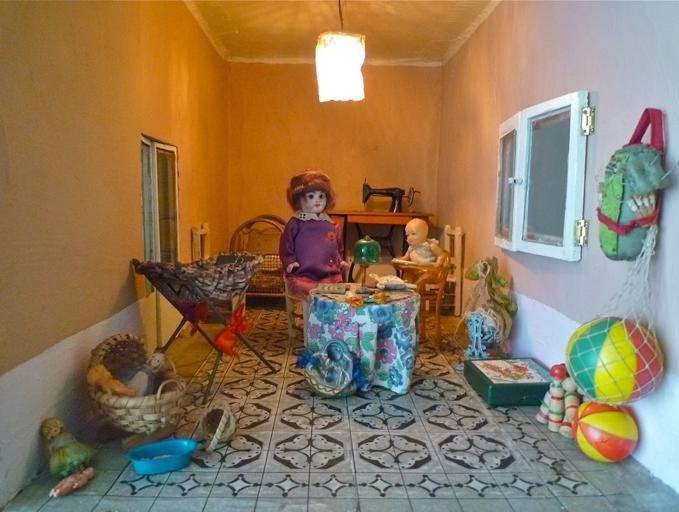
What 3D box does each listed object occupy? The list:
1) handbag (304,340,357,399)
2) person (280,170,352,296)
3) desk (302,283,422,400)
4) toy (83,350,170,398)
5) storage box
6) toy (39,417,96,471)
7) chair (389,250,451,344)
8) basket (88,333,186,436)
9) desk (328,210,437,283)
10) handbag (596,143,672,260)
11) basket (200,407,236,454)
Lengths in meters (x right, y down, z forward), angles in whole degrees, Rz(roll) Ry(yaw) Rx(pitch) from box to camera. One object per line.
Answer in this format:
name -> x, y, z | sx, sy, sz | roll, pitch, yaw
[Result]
handbag -> -0.068, 0.771, 3.160 | 0.344, 0.379, 0.210 | 5, 12, 21
person -> -0.222, -0.202, 4.021 | 0.583, 1.036, 0.643 | -1, 11, -8
desk -> 0.090, 0.766, 3.553 | 0.929, 0.665, 0.950 | -10, -20, 23
toy -> -1.213, 0.664, 2.607 | 0.247, 0.102, 0.230 | 9, 2, 0
storage box -> 1.187, 0.865, 3.232 | 0.524, 0.181, 0.463 | 1, 11, 1
toy -> -1.403, 0.952, 2.389 | 0.218, 0.271, 0.292 | -8, 14, -35
chair -> 0.809, 0.275, 4.612 | 0.715, 1.141, 0.915 | 1, 3, -1
basket -> -1.177, 0.760, 2.676 | 0.485, 0.530, 0.567 | -7, 13, -31
desk -> 0.430, -0.120, 4.872 | 0.796, 0.778, 0.348 | -1, 12, -1
handbag -> 1.445, -0.260, 2.297 | 0.276, 0.572, 0.179 | 7, 13, 29
basket -> -0.685, 0.966, 2.623 | 0.173, 0.235, 0.206 | 6, -1, -15
